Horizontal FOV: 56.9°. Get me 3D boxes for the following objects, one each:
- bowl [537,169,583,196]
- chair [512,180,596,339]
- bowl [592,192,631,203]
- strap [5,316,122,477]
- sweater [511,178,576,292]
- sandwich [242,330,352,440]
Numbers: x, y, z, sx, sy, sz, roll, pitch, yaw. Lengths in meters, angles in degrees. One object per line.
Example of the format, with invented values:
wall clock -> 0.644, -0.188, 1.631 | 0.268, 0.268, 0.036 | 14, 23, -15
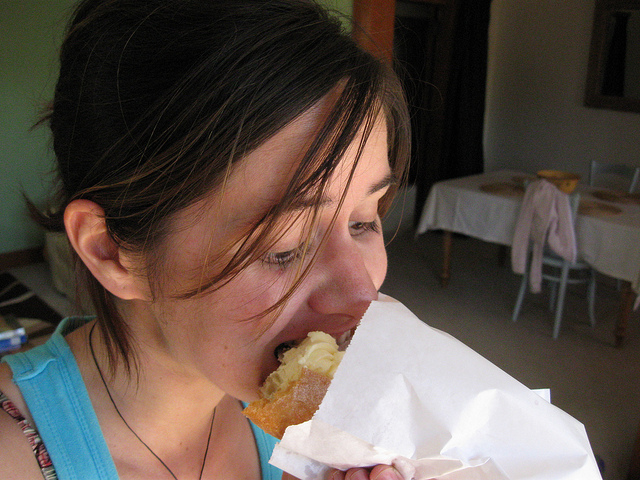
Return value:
bowl -> 1.233, -0.321, 3.022 | 0.147, 0.090, 0.177 | 5, 24, -17
chair -> 1.236, 0.085, 3.073 | 0.444, 0.758, 0.337 | 9, 21, 27
bowl -> 1.533, -0.224, 3.086 | 0.177, 0.032, 0.129 | 9, 23, 25
strap -> -0.590, 0.403, 1.487 | 0.194, 0.340, 0.338 | -21, -5, -36
sweater -> 1.184, -0.019, 3.084 | 0.143, 0.637, 0.459 | 0, 12, -18
sandwich -> -0.043, 0.294, 1.236 | 0.175, 0.237, 0.076 | 39, -4, 15
